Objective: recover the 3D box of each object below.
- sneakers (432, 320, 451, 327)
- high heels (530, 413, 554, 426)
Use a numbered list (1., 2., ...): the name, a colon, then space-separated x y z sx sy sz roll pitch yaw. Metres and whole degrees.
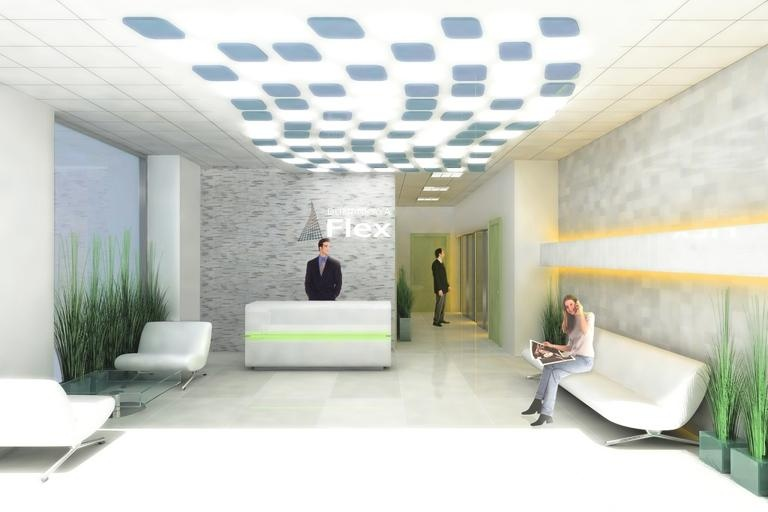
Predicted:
1. sneakers: 1.568 1.875 13.386 0.548 0.187 0.159 -2 -1 5
2. high heels: 1.937 2.067 6.052 0.351 0.129 0.111 -2 -8 -1
